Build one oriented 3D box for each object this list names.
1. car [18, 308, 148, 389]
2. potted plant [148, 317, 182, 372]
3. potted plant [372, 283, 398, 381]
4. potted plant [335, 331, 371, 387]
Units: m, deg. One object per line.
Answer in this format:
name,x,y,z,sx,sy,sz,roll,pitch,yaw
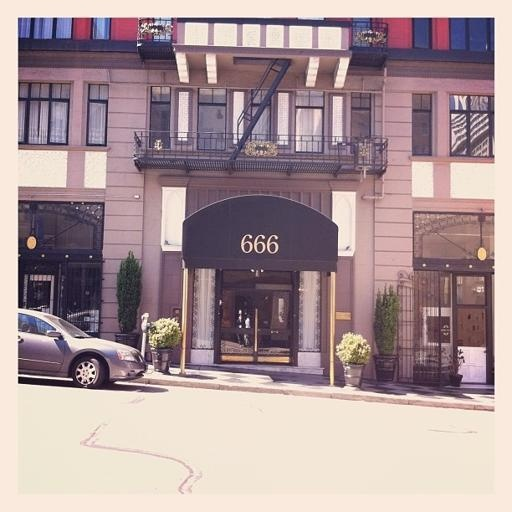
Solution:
car,-3.278,1.707,15.345,2.191,1.000,1.172,2,-4,-6
potted plant,-2.083,1.962,17.948,0.737,1.121,0.773,3,3,-32
potted plant,3.059,1.833,19.716,0.599,2.266,0.457,0,-5,15
potted plant,2.042,2.217,17.675,0.467,1.143,0.737,6,-7,-41
